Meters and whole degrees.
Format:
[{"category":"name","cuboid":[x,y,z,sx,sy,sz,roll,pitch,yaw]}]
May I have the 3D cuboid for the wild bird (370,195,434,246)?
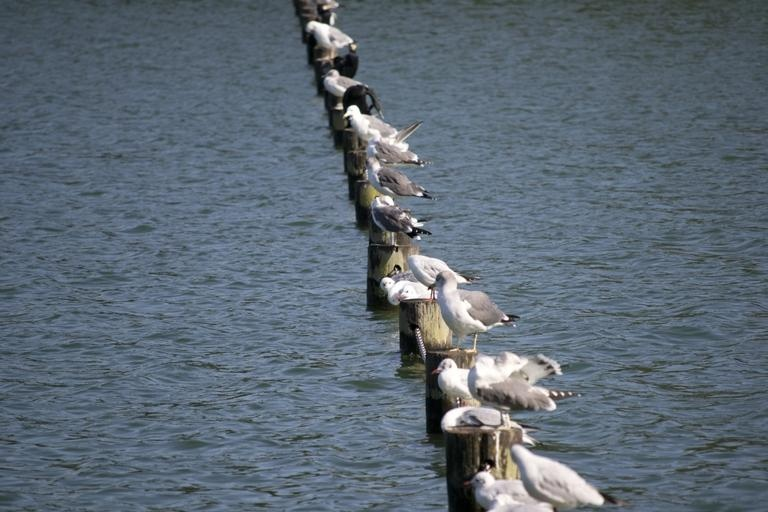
[{"category":"wild bird","cuboid":[0.452,-0.535,46.253,1.296,3.284,1.343,-12,70,0]}]
